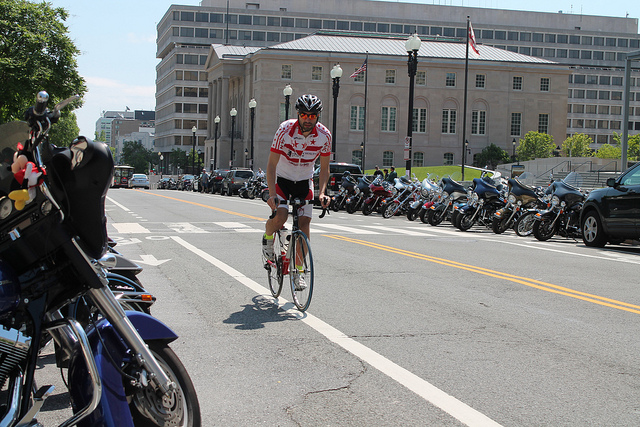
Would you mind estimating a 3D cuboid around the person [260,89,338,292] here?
[{"bbox_3d":[-0.293,-0.291,7.410,0.825,2.462,0.931,1,6,-3],"label":"person"}]

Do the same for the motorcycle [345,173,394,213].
[{"bbox_3d":[2.262,-1.010,27.981,1.282,1.396,2.166,20,18,31],"label":"motorcycle"}]

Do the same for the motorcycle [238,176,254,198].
[{"bbox_3d":[-5.506,-2.027,43.876,0.946,1.277,1.884,0,5,-25],"label":"motorcycle"}]

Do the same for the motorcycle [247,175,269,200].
[{"bbox_3d":[-4.068,-1.861,42.155,1.689,1.871,2.640,2,2,-30],"label":"motorcycle"}]

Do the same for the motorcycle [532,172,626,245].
[{"bbox_3d":[7.292,-0.200,17.485,1.352,2.116,2.057,4,7,25],"label":"motorcycle"}]

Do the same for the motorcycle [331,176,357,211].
[{"bbox_3d":[0.831,-0.832,28.418,1.036,1.227,1.724,9,13,40],"label":"motorcycle"}]

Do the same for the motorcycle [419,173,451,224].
[{"bbox_3d":[4.193,-0.463,21.798,0.946,1.172,1.874,21,19,34],"label":"motorcycle"}]
